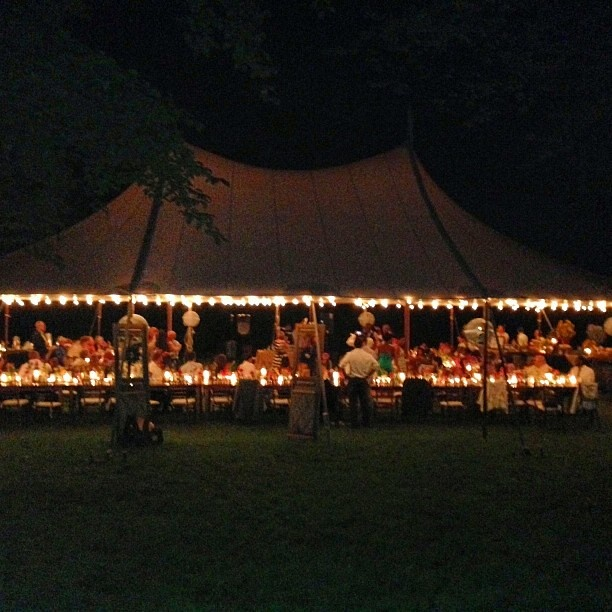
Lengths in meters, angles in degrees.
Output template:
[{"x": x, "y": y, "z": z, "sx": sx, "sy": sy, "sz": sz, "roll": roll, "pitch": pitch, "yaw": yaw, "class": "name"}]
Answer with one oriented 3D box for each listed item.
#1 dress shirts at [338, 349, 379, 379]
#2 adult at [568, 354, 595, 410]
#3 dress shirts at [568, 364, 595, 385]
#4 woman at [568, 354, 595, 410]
[{"x": 0.759, "y": 0.820, "z": 11.346, "sx": 0.528, "sy": 0.436, "sz": 0.381, "roll": 1, "pitch": 0, "yaw": 2, "class": "dress shirts"}, {"x": 4.259, "y": 1.225, "z": 12.222, "sx": 0.387, "sy": 0.873, "sz": 1.009, "roll": 1, "pitch": 0, "yaw": 18, "class": "adult"}, {"x": 4.288, "y": 1.061, "z": 12.287, "sx": 0.265, "sy": 0.366, "sz": 0.445, "roll": 13, "pitch": -5, "yaw": -22, "class": "dress shirts"}, {"x": 4.259, "y": 1.225, "z": 12.222, "sx": 0.387, "sy": 0.873, "sz": 1.009, "roll": 1, "pitch": 0, "yaw": 18, "class": "woman"}]
